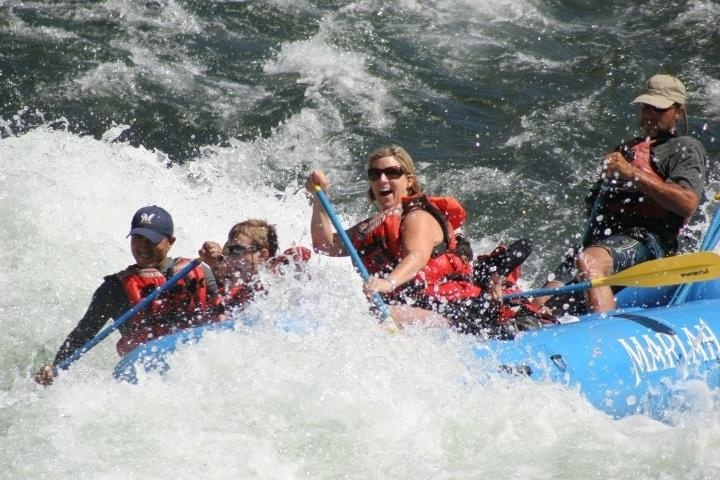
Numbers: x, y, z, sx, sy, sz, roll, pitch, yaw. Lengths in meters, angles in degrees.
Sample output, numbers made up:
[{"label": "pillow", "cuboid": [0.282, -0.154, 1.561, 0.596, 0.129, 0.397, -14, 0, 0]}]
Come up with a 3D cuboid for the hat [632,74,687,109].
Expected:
[{"label": "hat", "cuboid": [3.055, -1.519, 10.395, 0.345, 0.234, 0.503, 9, 8, 43]}]

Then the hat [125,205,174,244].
[{"label": "hat", "cuboid": [-1.987, -0.172, 9.927, 0.327, 0.230, 0.426, 9, 1, 10]}]
